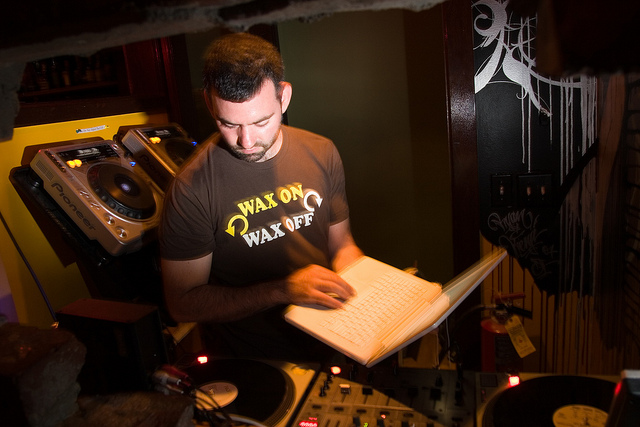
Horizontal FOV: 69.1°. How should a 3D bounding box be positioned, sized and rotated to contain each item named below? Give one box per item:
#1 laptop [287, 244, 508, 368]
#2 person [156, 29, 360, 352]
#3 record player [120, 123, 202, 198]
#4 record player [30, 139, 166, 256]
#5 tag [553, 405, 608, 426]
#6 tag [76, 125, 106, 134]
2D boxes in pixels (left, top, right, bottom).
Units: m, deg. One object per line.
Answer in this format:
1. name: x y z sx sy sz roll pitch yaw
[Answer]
1. laptop: 0.234 0.306 1.519 0.515 0.246 0.530 25 36 29
2. person: -0.246 -0.169 1.879 0.710 1.024 0.742 2 25 16
3. record player: -0.750 -0.292 2.170 0.118 0.384 0.404 -44 -3 29
4. record player: -0.853 -0.084 1.832 0.152 0.482 0.511 -36 6 17
5. tag: 0.657 0.508 1.172 0.129 0.010 0.075 1 24 14
6. tag: -1.111 -0.412 2.268 0.005 0.031 0.154 4 25 21
